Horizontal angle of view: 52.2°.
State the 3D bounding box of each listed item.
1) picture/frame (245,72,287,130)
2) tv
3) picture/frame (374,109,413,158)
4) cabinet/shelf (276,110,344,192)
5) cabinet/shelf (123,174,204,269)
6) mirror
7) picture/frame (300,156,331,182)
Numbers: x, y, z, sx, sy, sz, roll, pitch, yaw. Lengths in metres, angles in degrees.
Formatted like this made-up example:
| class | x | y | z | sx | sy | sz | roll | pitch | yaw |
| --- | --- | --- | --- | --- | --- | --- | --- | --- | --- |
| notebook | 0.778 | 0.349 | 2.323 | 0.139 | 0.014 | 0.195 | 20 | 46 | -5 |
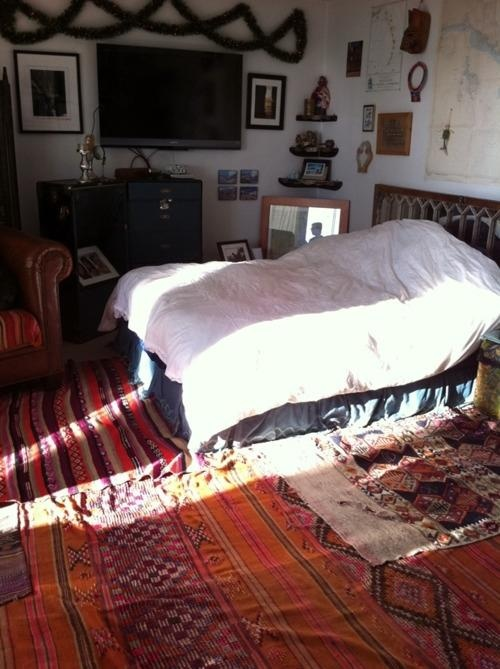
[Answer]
| class | x | y | z | sx | sy | sz | roll | pitch | yaw |
| --- | --- | --- | --- | --- | --- | --- | --- | --- | --- |
| picture/frame | 0.160 | -2.194 | 4.777 | 0.371 | 0.410 | 0.031 | 12 | 24 | 20 |
| tv | -0.657 | -1.958 | 4.310 | 1.244 | 0.739 | 0.098 | 4 | 22 | 5 |
| picture/frame | 1.174 | -1.621 | 4.148 | 0.031 | 0.322 | 0.394 | -13 | 25 | -23 |
| cabinet/shelf | 0.635 | -1.728 | 4.910 | 0.628 | 0.680 | 0.231 | 10 | 18 | 26 |
| cabinet/shelf | -0.740 | -0.952 | 4.405 | 0.625 | 0.826 | 0.459 | -2 | 18 | -12 |
| mirror | 0.500 | -0.967 | 4.527 | 0.842 | 0.702 | 0.036 | 4 | 23 | 7 |
| picture/frame | 0.649 | -1.591 | 4.944 | 0.268 | 0.229 | 0.035 | 20 | -8 | 35 |
